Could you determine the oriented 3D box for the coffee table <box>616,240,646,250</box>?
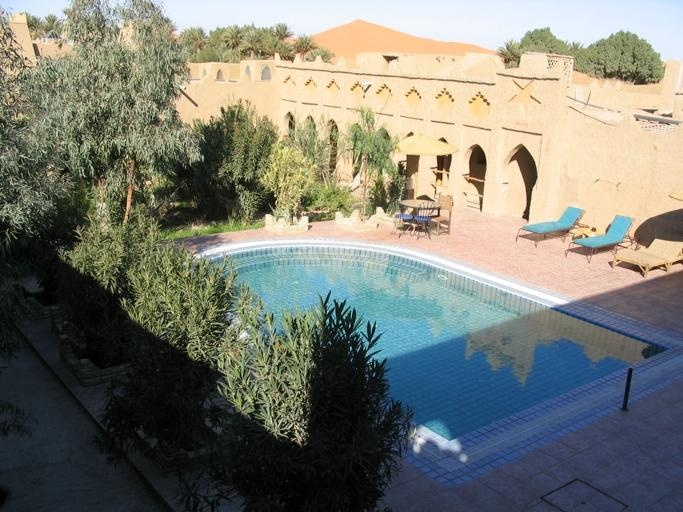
[{"bbox_3d":[9.335,-0.481,16.143,0.671,0.193,0.698,2,11,-2],"label":"coffee table"}]

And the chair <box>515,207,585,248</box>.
[{"bbox_3d":[7.071,-1.211,16.726,2.754,1.261,1.230,-14,23,-24],"label":"chair"}]
